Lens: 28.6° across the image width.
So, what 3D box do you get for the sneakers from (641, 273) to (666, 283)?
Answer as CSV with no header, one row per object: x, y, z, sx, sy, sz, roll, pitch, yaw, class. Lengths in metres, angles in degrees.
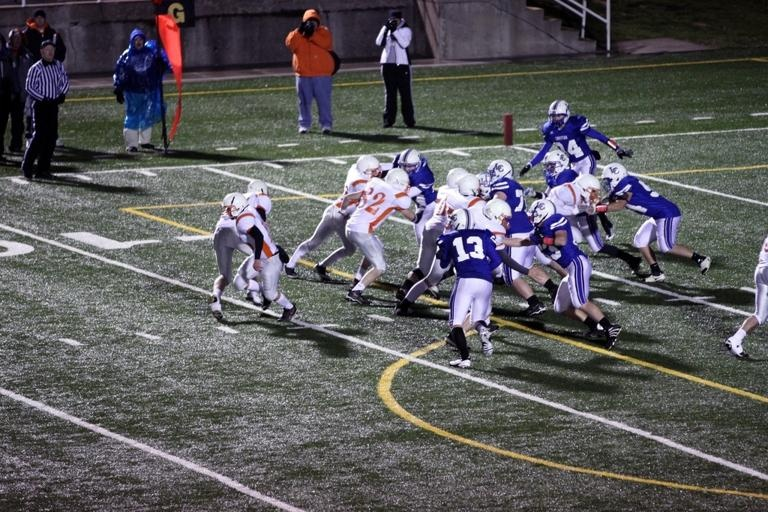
3.869,0.319,21.621,0.352,0.116,0.111,-1,24,9,sneakers

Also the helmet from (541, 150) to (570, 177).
2.501,-1.399,22.693,0.496,0.330,0.352,-12,14,-13,helmet

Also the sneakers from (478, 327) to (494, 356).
1.273,1.079,19.279,0.178,0.385,0.197,-21,32,-16,sneakers

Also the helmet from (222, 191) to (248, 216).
-1.986,-0.697,20.038,0.401,0.269,0.260,-12,31,9,helmet

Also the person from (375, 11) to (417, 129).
0.255,-3.799,30.784,0.853,2.344,0.661,4,9,15,person

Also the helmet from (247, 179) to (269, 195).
-1.781,-0.935,20.664,0.267,0.114,0.377,-3,9,-22,helmet

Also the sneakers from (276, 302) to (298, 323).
-1.330,0.773,20.231,0.132,0.323,0.145,26,-14,34,sneakers

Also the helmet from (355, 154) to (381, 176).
-0.256,-1.274,21.525,0.390,0.247,0.234,-7,47,-7,helmet

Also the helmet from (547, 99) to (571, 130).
2.846,-2.312,24.591,0.319,0.416,0.396,3,8,7,helmet

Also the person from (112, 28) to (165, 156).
-4.671,-3.118,28.620,0.978,2.280,0.680,2,9,-1,person

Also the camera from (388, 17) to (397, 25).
0.145,-4.759,30.609,0.208,0.158,0.195,0,8,4,camera

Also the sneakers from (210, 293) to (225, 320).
-2.262,0.743,20.188,0.158,0.245,0.384,-2,-22,-3,sneakers

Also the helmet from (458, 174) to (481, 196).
1.157,-0.963,20.720,0.352,0.212,0.266,-10,-13,8,helmet

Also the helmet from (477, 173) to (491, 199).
1.413,-0.997,21.432,0.173,0.324,0.260,3,17,0,helmet

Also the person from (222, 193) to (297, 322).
-1.698,0.005,20.235,0.998,1.690,0.647,0,9,-10,person

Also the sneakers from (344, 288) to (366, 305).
-0.395,0.561,20.875,0.410,0.170,0.118,16,38,-8,sneakers

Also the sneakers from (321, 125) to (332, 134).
-1.187,-2.525,30.228,0.228,0.116,0.264,5,5,3,sneakers

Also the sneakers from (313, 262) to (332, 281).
-0.899,0.232,21.810,0.373,0.145,0.144,38,34,25,sneakers

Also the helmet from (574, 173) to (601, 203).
2.876,-0.954,21.352,0.345,0.373,0.262,2,9,4,helmet

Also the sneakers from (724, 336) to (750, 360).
4.466,1.177,19.171,0.393,0.171,0.150,38,-1,-12,sneakers

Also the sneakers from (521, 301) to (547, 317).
1.986,0.724,20.504,0.431,0.162,0.157,2,17,45,sneakers

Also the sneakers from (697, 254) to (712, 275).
4.621,0.125,21.705,0.176,0.320,0.114,1,54,11,sneakers

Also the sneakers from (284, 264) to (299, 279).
-1.341,0.231,21.870,0.330,0.131,0.105,40,30,30,sneakers

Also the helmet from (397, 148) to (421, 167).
0.357,-1.404,21.731,0.266,0.238,0.312,16,32,37,helmet

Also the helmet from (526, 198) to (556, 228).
2.126,-0.577,20.208,0.442,0.344,0.325,11,19,23,helmet

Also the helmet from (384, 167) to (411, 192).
0.179,-1.069,21.131,0.395,0.252,0.274,-4,32,1,helmet

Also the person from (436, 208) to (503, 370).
1.018,0.397,19.173,0.804,1.927,0.931,3,9,10,person

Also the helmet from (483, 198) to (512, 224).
1.477,-0.583,19.930,0.426,0.280,0.257,-6,44,-6,helmet

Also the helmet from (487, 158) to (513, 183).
1.589,-1.222,21.502,0.417,0.261,0.271,1,12,18,helmet

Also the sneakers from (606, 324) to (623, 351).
2.961,1.030,19.445,0.222,0.350,0.130,-6,30,-9,sneakers

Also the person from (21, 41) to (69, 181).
-5.916,-2.498,25.974,0.750,2.378,0.580,0,9,-12,person

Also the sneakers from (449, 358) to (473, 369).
0.951,1.352,18.883,0.294,0.112,0.106,5,12,21,sneakers

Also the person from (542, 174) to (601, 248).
2.640,-0.616,21.239,0.842,0.418,0.888,40,-6,21,person

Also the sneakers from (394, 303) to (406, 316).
0.219,0.731,20.384,0.197,0.134,0.150,8,0,30,sneakers
